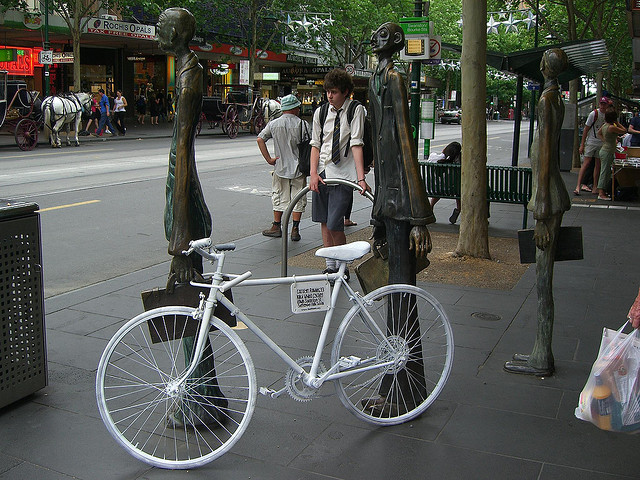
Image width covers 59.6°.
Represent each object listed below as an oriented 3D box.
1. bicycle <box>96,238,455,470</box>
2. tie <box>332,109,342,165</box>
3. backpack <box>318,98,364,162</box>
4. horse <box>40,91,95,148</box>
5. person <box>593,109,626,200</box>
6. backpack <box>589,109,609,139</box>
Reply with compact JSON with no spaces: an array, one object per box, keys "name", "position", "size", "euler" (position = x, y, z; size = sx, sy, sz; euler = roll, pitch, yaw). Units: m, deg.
[{"name":"bicycle","position":[-0.216,0.673,3.681],"size":[2.348,1.450,0.780],"euler":[-6,23,-13]},{"name":"tie","position":[0.203,-1.257,6.798],"size":[0.112,0.654,0.157],"euler":[0,13,6]},{"name":"backpack","position":[0.189,-1.370,6.935],"size":[0.390,0.705,0.544],"euler":[-5,14,-13]},{"name":"horse","position":[-10.444,-5.056,23.190],"size":[0.855,2.314,3.019],"euler":[8,14,8]},{"name":"person","position":[7.339,-2.204,14.242],"size":[0.523,2.208,1.178],"euler":[6,15,28]},{"name":"backpack","position":[7.422,-3.177,14.770],"size":[0.319,0.556,0.540],"euler":[-4,10,-4]}]
